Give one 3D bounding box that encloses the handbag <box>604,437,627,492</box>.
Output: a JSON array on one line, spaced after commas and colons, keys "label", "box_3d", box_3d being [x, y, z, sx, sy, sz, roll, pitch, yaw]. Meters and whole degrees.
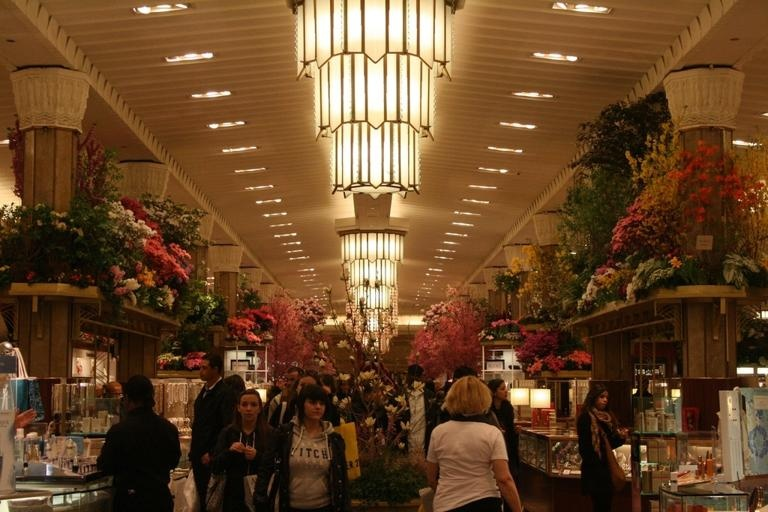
[{"label": "handbag", "box_3d": [2.622, 2.354, 9.941, 0.154, 0.541, 0.227, -16, -15, -13]}]
